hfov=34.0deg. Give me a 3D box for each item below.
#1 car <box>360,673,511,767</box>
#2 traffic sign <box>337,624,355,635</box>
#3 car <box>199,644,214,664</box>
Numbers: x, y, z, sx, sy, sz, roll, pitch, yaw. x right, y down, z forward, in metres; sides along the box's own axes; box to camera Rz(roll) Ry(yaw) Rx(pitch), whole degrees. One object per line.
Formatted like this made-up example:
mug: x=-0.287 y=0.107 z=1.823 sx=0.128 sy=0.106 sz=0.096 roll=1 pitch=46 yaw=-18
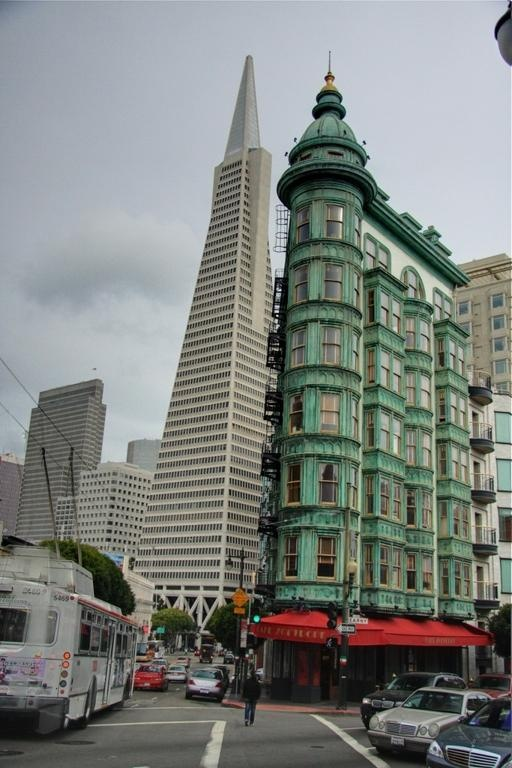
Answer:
car: x=3.247 y=6.395 z=15.843 sx=1.498 sy=1.238 sz=1.960 roll=-15 pitch=-26 yaw=42
traffic sign: x=3.052 y=8.250 z=28.308 sx=0.586 sy=0.337 sz=0.404 roll=3 pitch=-19 yaw=3
car: x=-5.295 y=29.798 z=92.283 sx=1.341 sy=1.153 sz=1.945 roll=1 pitch=-21 yaw=2
